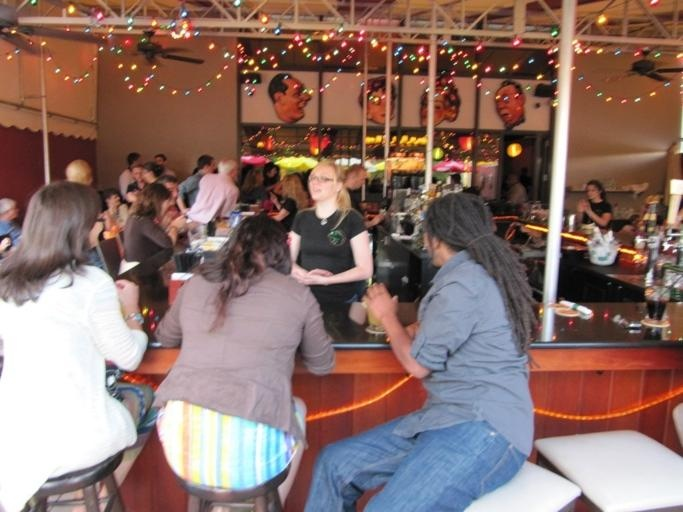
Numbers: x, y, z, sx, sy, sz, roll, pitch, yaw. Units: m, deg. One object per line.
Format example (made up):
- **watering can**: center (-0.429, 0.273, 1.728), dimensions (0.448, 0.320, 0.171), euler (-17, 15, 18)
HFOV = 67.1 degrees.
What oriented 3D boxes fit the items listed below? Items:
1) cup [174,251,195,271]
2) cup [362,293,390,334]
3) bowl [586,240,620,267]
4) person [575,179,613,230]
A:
- **cup**: center (-0.809, 0.048, 2.676), dimensions (0.106, 0.123, 0.132), euler (4, -5, -25)
- **cup**: center (0.145, 0.285, 2.430), dimensions (0.175, 0.169, 0.163), euler (-3, 0, 0)
- **bowl**: center (2.092, -0.015, 4.097), dimensions (0.214, 0.156, 0.230), euler (0, 0, 0)
- **person**: center (3.085, -0.622, 6.240), dimensions (0.356, 0.586, 0.843), euler (5, 8, 25)
